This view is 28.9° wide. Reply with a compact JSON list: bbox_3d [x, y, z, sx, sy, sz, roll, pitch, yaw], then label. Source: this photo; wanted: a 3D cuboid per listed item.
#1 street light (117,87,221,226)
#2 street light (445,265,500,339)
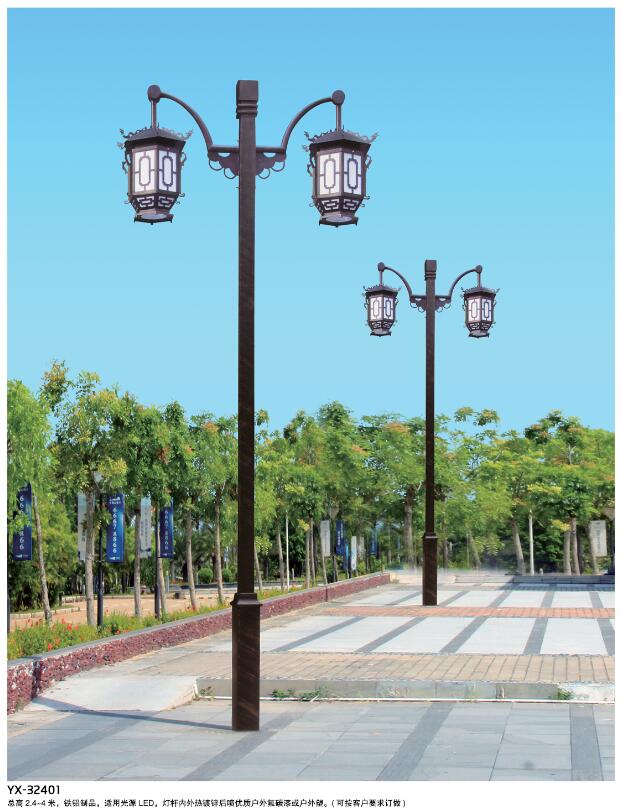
[{"bbox_3d":[-1.391,-2.486,12.016,0.878,1.566,0.679,0,-20,-9],"label":"street light"},{"bbox_3d":[3.172,-2.065,23.581,0.787,1.470,0.584,0,-18,-6],"label":"street light"}]
